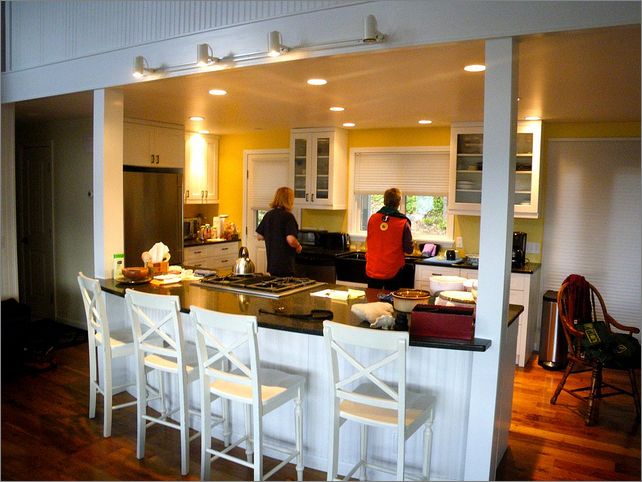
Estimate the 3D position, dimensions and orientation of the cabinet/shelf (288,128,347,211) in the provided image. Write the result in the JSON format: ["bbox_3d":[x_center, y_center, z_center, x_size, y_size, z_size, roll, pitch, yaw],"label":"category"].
[{"bbox_3d":[-0.052,-0.950,7.234,0.681,1.051,0.382,5,7,30],"label":"cabinet/shelf"}]

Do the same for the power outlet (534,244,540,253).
[{"bbox_3d":[2.560,0.076,6.311,0.099,0.141,0.011,2,1,36],"label":"power outlet"}]

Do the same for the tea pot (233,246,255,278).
[{"bbox_3d":[-0.742,0.202,5.188,0.184,0.278,0.266,0,-3,-6],"label":"tea pot"}]

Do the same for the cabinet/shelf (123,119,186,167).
[{"bbox_3d":[-2.190,-1.213,6.768,0.295,0.560,0.893,9,9,41],"label":"cabinet/shelf"}]

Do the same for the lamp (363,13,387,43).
[{"bbox_3d":[0.347,-1.452,3.651,0.147,0.167,0.130,-5,9,-38],"label":"lamp"}]

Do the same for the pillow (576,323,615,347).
[{"bbox_3d":[2.461,0.827,4.799,0.219,0.068,0.225,-2,20,10],"label":"pillow"}]

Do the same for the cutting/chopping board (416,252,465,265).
[{"bbox_3d":[1.473,0.202,6.425,0.504,0.083,0.573,3,8,22],"label":"cutting/chopping board"}]

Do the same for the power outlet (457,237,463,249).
[{"bbox_3d":[1.716,0.014,6.587,0.085,0.137,0.078,2,7,15],"label":"power outlet"}]

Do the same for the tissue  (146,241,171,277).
[{"bbox_3d":[-1.635,0.164,5.338,0.284,0.418,0.260,4,-4,-34],"label":"tissue "}]

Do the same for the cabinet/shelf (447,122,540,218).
[{"bbox_3d":[2.046,-0.843,6.280,1.022,1.127,0.353,4,23,23],"label":"cabinet/shelf"}]

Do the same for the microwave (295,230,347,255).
[{"bbox_3d":[0.027,-0.028,7.161,0.691,0.244,0.303,1,7,4],"label":"microwave"}]

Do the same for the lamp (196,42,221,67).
[{"bbox_3d":[-0.888,-1.484,4.212,0.205,0.177,0.135,1,7,4],"label":"lamp"}]

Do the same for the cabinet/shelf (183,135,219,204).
[{"bbox_3d":[-1.766,-1.063,7.766,0.388,0.950,0.961,4,6,26],"label":"cabinet/shelf"}]

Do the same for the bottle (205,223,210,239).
[{"bbox_3d":[-1.684,-0.148,7.933,0.072,0.180,0.304,-1,7,-11],"label":"bottle"}]

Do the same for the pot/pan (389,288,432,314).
[{"bbox_3d":[0.698,0.476,4.058,0.279,0.147,0.506,-1,7,-7],"label":"pot/pan"}]

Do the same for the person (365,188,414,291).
[{"bbox_3d":[0.695,-0.069,5.440,0.500,0.939,0.226,3,7,19],"label":"person"}]

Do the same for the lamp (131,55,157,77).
[{"bbox_3d":[-1.500,-1.451,4.470,0.145,0.208,0.220,4,6,39],"label":"lamp"}]

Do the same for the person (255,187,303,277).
[{"bbox_3d":[-0.432,-0.094,5.572,0.355,0.935,0.511,-5,9,-37],"label":"person"}]

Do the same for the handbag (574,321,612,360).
[{"bbox_3d":[2.452,0.868,4.755,0.275,0.103,0.286,3,46,31],"label":"handbag"}]

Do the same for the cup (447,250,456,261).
[{"bbox_3d":[1.557,0.162,6.408,0.106,0.105,0.108,0,6,0],"label":"cup"}]

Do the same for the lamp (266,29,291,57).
[{"bbox_3d":[-0.324,-1.453,3.916,0.184,0.153,0.115,4,8,28],"label":"lamp"}]

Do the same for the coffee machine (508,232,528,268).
[{"bbox_3d":[2.286,0.083,6.114,0.143,0.360,0.613,3,8,21],"label":"coffee machine"}]
